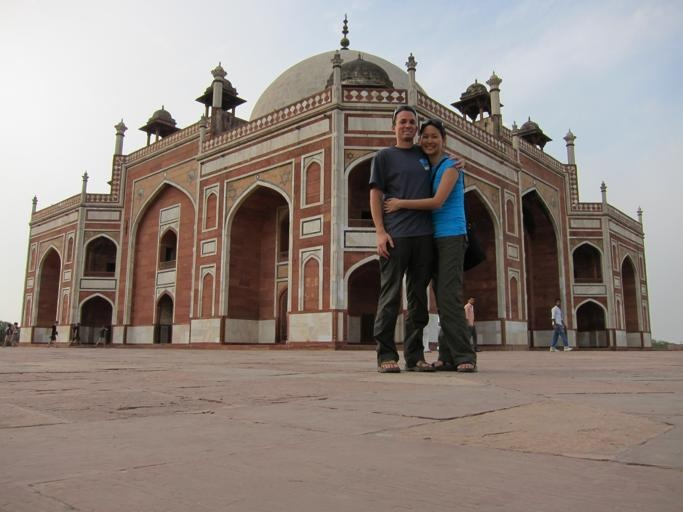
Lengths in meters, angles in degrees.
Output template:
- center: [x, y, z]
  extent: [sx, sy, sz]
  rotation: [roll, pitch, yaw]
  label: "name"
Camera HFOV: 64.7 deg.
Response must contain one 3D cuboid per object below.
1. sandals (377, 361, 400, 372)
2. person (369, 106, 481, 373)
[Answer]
- center: [0.312, 0.739, 3.585]
  extent: [0.142, 0.076, 0.128]
  rotation: [-2, -12, 4]
  label: "sandals"
- center: [0.550, -0.117, 3.821]
  extent: [0.650, 1.849, 0.535]
  rotation: [-4, -12, 12]
  label: "person"
